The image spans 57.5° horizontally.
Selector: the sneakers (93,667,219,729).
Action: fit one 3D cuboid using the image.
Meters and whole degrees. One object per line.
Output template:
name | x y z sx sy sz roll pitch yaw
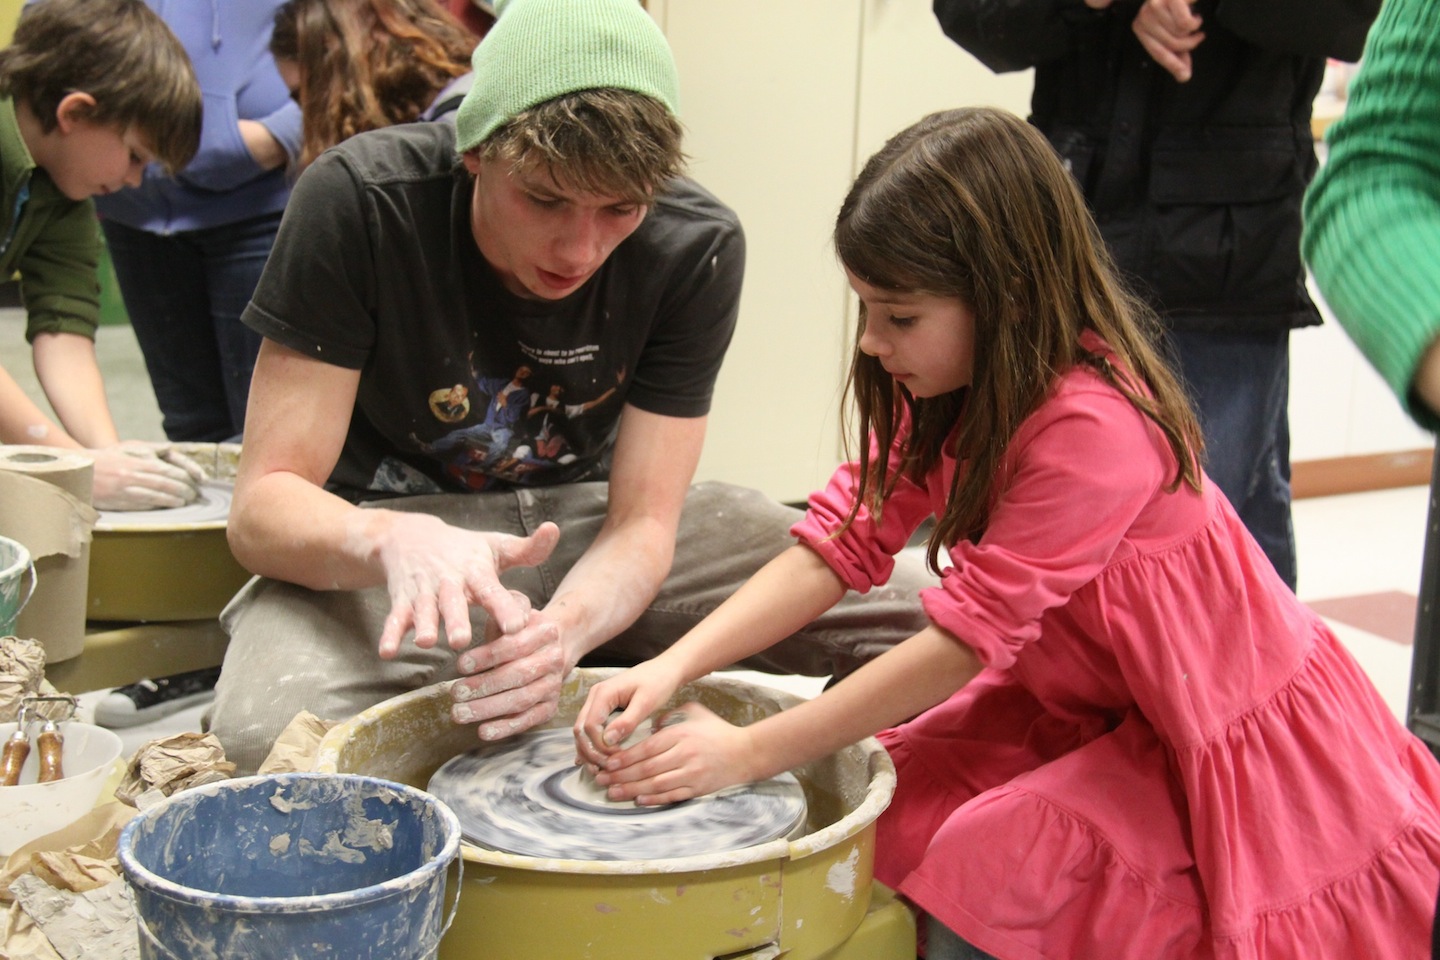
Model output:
sneakers | -1.264 0.476 3.022 0.093 0.083 0.340 14 14 28
